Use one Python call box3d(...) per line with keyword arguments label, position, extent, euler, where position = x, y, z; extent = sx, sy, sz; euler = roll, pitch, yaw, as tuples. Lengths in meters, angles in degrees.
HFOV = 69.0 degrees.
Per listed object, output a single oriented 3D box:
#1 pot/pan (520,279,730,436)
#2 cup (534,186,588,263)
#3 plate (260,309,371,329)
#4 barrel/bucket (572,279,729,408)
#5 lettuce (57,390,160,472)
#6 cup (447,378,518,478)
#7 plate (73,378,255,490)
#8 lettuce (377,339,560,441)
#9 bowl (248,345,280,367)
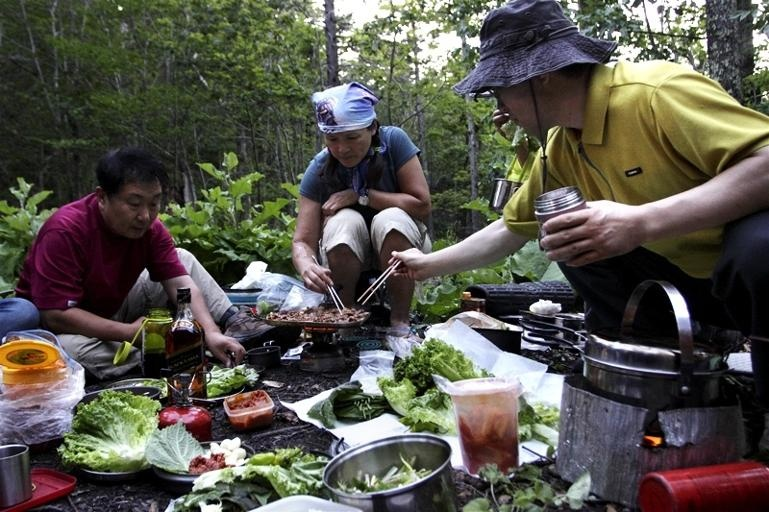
box3d(label="pot/pan", position=(1.223, 0.489, 2.815), extent=(0.698, 0.578, 0.704), euler=(2, 2, -9))
box3d(label="cup", position=(0.846, -0.180, 2.842), extent=(0.295, 0.317, 0.297), euler=(-29, 2, 1))
box3d(label="plate", position=(-0.493, 0.419, 4.187), extent=(0.578, 0.142, 0.557), euler=(1, 3, 17))
box3d(label="barrel/bucket", position=(1.266, 0.390, 2.771), extent=(0.616, 0.501, 0.610), euler=(3, 1, 0))
box3d(label="lettuce", position=(-1.503, 0.946, 3.037), extent=(0.496, 0.368, 0.331), euler=(0, 2, -3))
box3d(label="cup", position=(0.505, 0.873, 2.821), extent=(0.354, 0.476, 0.150), euler=(0, 3, 4))
box3d(label="plate", position=(-1.177, 0.919, 3.191), extent=(0.963, 0.481, 0.827), euler=(-6, 2, 39))
box3d(label="lettuce", position=(0.399, 0.844, 3.335), extent=(0.701, 0.224, 0.622), euler=(17, 0, -8))
box3d(label="bowl", position=(-0.927, 0.783, 4.312), extent=(0.167, 0.072, 0.189), euler=(-2, 3, -2))
